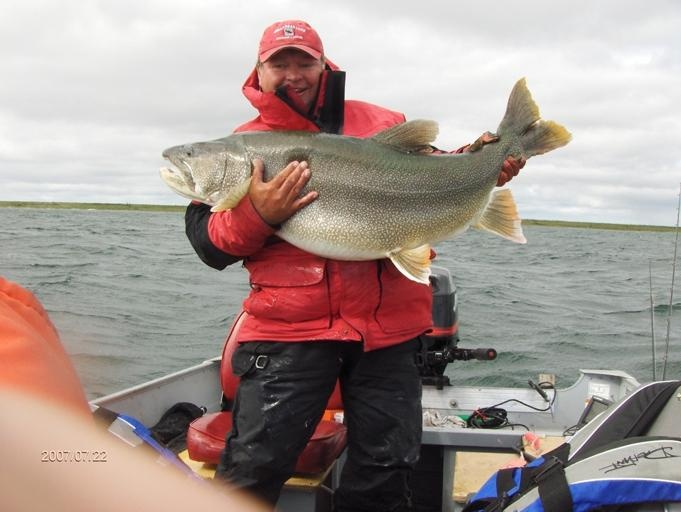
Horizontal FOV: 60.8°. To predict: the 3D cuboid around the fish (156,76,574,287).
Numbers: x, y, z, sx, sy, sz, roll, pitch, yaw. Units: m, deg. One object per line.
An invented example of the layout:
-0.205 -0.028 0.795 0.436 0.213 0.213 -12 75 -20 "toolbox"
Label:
0.169 -0.364 2.921 2.015 1.065 0.407 -1 8 -10 "fish"
